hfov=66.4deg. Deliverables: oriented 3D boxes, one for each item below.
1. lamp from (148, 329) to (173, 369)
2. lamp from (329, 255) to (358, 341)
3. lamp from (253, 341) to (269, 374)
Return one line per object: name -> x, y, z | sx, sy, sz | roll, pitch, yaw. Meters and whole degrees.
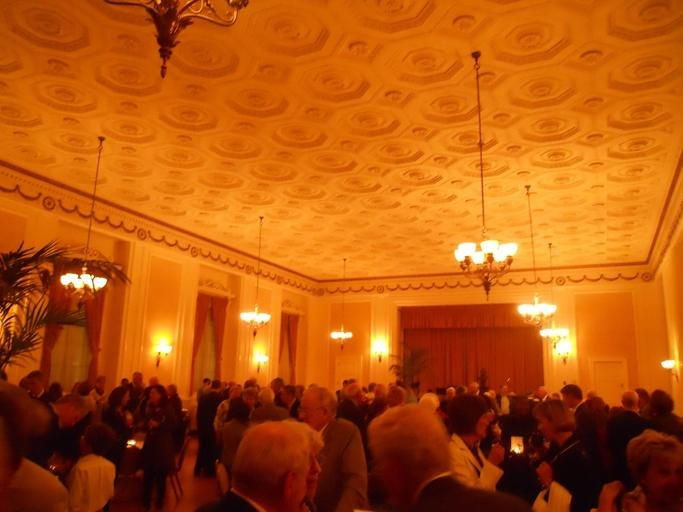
lamp -> -4.143, 2.190, 12.099 | 0.234, 0.869, 0.656 | -4, -15, 22
lamp -> 0.017, 1.810, 17.340 | 0.781, 2.371, 2.141 | 2, -14, -1
lamp -> -2.412, 3.036, 15.322 | 0.280, 0.882, 0.888 | -6, -12, 23
